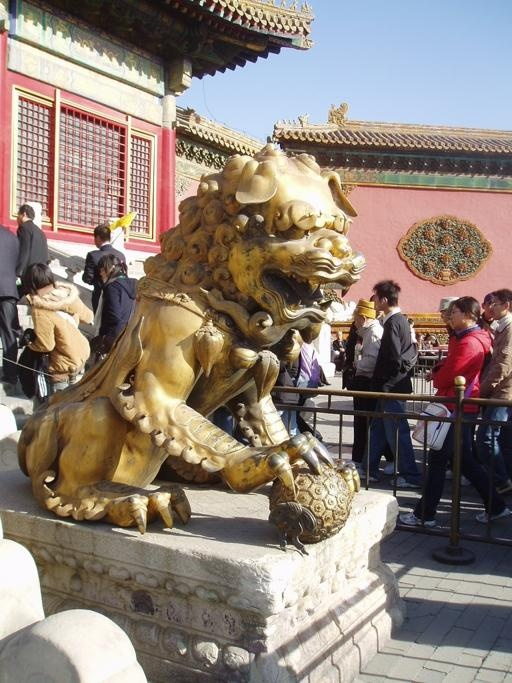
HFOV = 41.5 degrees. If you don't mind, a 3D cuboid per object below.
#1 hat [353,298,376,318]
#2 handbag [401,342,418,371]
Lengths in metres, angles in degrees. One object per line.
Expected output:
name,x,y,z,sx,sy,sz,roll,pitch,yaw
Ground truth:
hat,0.950,-0.261,5.437,0.160,0.094,0.168,7,0,-7
handbag,1.168,0.119,4.788,0.095,0.199,0.156,-6,25,6
